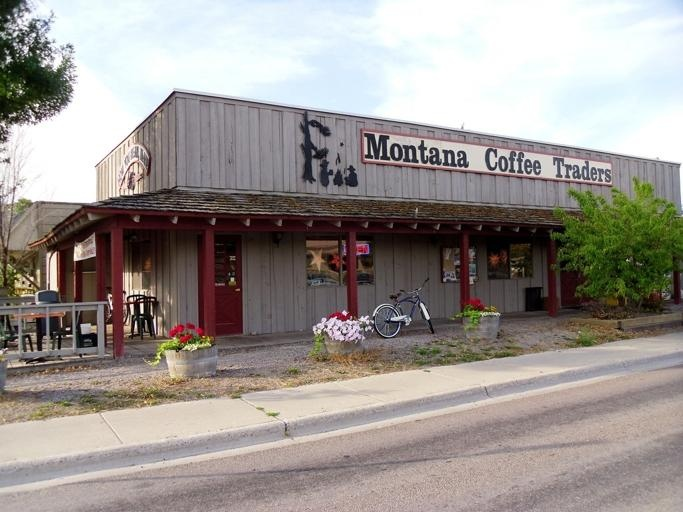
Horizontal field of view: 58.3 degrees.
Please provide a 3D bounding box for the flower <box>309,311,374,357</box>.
[{"bbox_3d":[-0.028,1.671,12.814,0.910,0.838,1.109,1,-2,-9],"label":"flower"}]

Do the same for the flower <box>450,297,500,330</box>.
[{"bbox_3d":[3.356,1.412,15.024,0.778,0.705,0.929,-1,-1,12],"label":"flower"}]

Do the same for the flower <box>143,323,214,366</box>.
[{"bbox_3d":[-2.893,1.579,11.754,0.882,0.641,1.391,-1,4,-3],"label":"flower"}]
